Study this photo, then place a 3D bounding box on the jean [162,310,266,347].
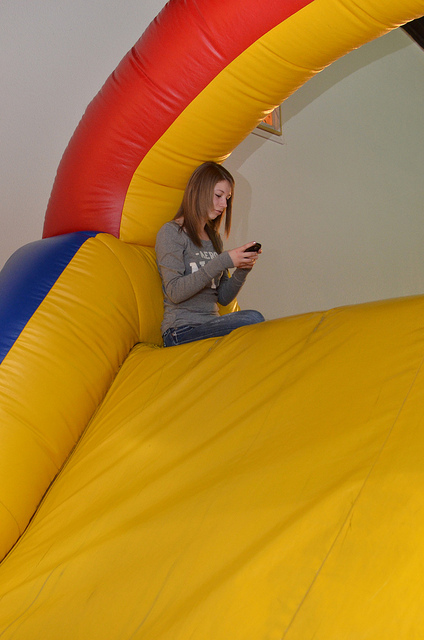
[{"bbox_3d":[-0.008,0.023,1.172,0.196,0.060,0.111,-18,-1,14],"label":"jean"}]
